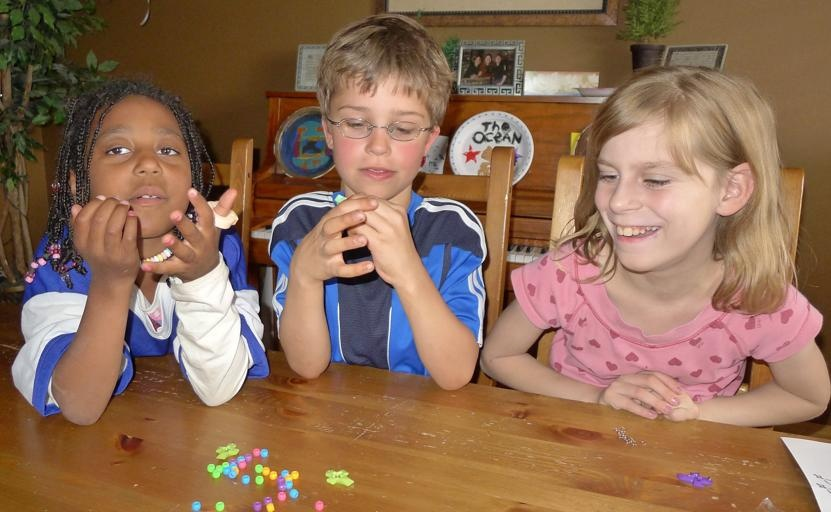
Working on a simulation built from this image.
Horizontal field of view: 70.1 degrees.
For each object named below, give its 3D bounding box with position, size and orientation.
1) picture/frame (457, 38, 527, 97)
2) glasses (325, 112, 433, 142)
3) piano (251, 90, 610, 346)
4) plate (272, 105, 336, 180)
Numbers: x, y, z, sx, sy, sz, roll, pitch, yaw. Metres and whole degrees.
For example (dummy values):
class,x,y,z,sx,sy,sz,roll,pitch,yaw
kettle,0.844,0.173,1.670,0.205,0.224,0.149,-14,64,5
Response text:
class,x,y,z,sx,sy,sz,roll,pitch,yaw
picture/frame,0.385,-0.972,3.100,0.333,0.283,0.035,3,1,8
glasses,-0.106,-0.377,1.782,0.310,0.063,0.135,1,14,0
piano,0.124,-0.136,2.059,1.274,1.202,0.543,2,4,14
plate,-0.618,-0.579,3.206,0.380,0.388,0.066,14,7,15
